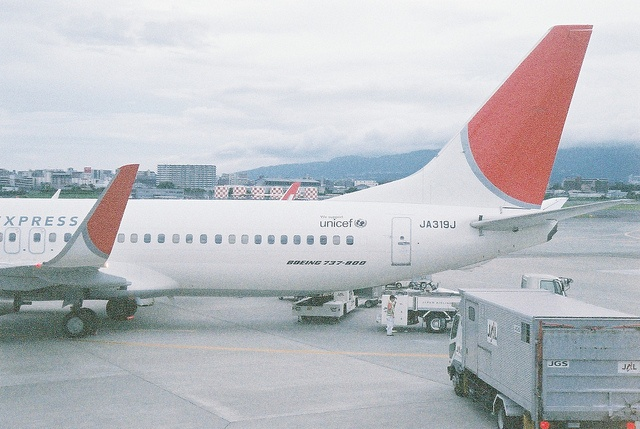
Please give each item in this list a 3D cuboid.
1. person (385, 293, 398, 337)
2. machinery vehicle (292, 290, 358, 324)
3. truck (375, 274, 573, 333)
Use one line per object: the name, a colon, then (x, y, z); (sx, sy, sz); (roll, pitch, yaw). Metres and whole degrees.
person: (3.550, 5.071, 45.746); (0.474, 2.046, 0.820); (1, -2, 4)
machinery vehicle: (0.134, 4.896, 48.176); (2.669, 0.912, 1.965); (-2, 2, 27)
truck: (7.995, 4.650, 46.885); (10.680, 2.643, 3.395); (-1, 2, 1)
